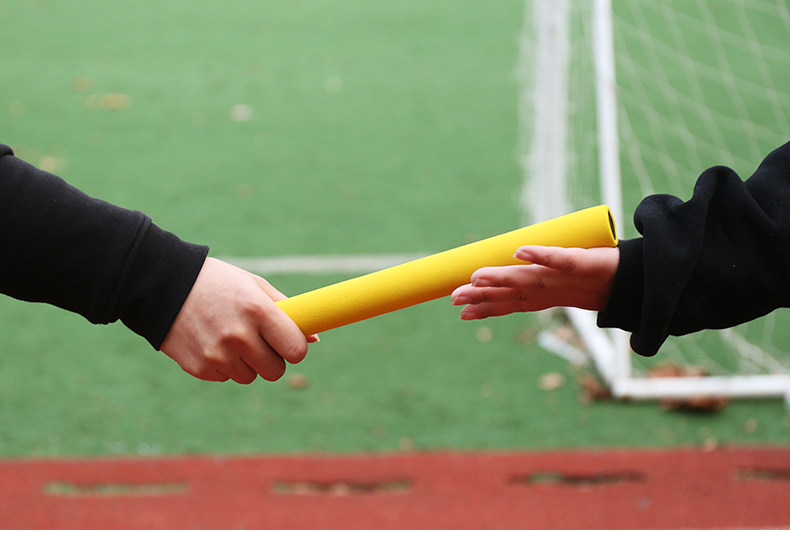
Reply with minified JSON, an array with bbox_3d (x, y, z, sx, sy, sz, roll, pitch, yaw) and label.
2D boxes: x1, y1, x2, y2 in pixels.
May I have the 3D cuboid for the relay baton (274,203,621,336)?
[{"bbox_3d":[0.148,0.023,2.350,0.972,0.128,0.141,-16,28,8],"label":"relay baton"}]
